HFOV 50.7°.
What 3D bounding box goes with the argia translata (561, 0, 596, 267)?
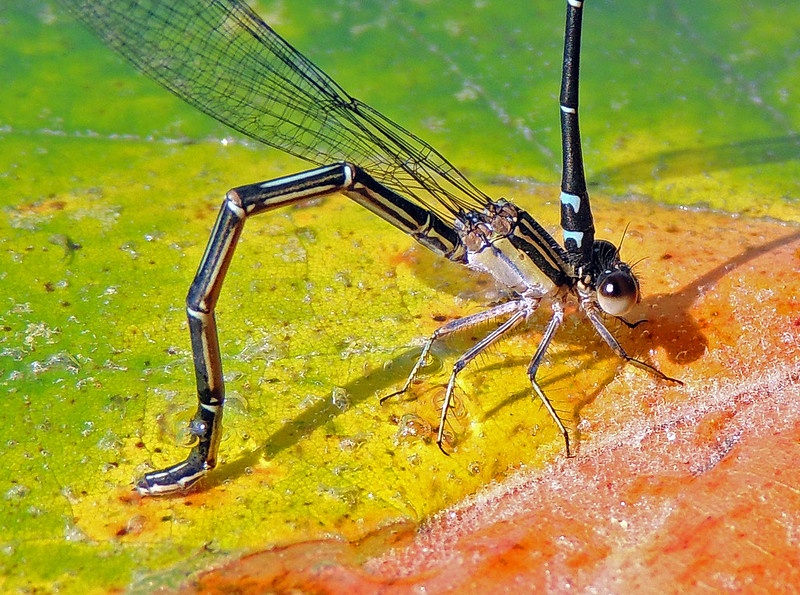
[{"bbox_3d":[1.029,-0.923,4.877,0.213,1.509,0.246,-2,7,13],"label":"argia translata"}]
